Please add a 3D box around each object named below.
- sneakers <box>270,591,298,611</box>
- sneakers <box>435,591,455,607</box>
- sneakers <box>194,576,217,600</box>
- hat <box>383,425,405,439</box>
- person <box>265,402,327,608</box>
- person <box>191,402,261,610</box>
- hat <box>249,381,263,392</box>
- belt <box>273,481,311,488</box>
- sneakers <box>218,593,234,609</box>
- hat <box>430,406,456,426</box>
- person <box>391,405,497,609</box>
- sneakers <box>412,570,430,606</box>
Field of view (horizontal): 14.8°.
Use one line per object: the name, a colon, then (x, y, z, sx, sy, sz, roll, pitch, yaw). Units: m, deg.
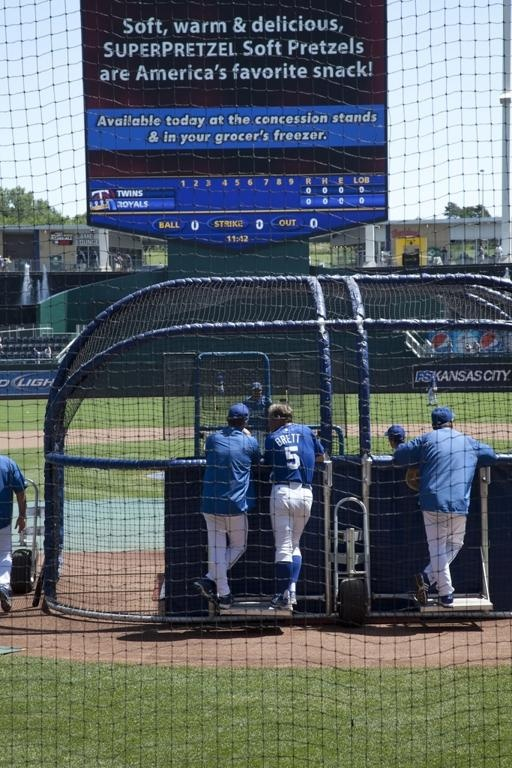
sneakers: (0.228, 1.827, 16.388, 0.265, 0.140, 0.103, 0, -7, 30)
sneakers: (1.558, 1.790, 16.353, 0.114, 0.167, 0.364, 1, 1, 2)
sneakers: (-0.425, 1.714, 16.403, 0.186, 0.179, 0.115, -1, 0, 0)
hat: (1.230, 0.431, 17.446, 0.103, 0.097, 0.153, 1, 3, -4)
person: (0.264, 1.046, 16.582, 0.390, 1.622, 0.529, -1, 0, 35)
person: (-0.251, 1.116, 16.486, 0.544, 1.497, 0.240, -1, 0, -5)
hat: (-0.019, 0.039, 19.421, 0.090, 0.086, 0.154, 0, 0, -4)
belt: (0.296, 0.854, 16.492, 0.310, 0.056, 0.082, -1, 0, -13)
sneakers: (-0.240, 1.811, 16.441, 0.090, 0.110, 0.196, -1, 0, 30)
hat: (1.581, 0.286, 16.807, 0.157, 0.161, 0.278, 0, -16, 8)
person: (1.553, 1.126, 16.478, 0.810, 1.546, 0.354, -1, 0, 7)
sneakers: (1.372, 1.706, 16.431, 0.120, 0.291, 0.096, -3, 1, -42)
